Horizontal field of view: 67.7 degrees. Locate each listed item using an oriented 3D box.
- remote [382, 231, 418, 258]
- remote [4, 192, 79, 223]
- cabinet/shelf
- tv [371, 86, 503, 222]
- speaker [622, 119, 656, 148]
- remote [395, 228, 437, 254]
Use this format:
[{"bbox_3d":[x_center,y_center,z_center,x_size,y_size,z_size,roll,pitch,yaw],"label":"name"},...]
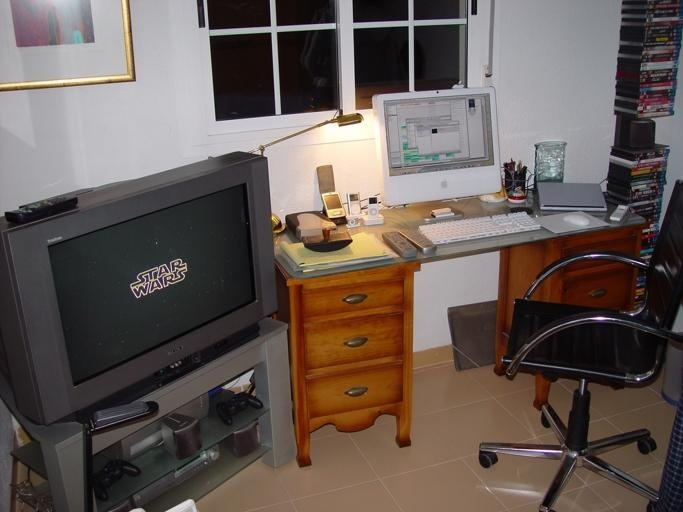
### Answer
[{"bbox_3d":[0.289,-0.058,2.479,0.109,0.055,0.258,-12,22,-16],"label":"remote"},{"bbox_3d":[-1.006,-0.162,1.731,0.128,0.041,0.231,13,28,40],"label":"remote"},{"bbox_3d":[-0.788,0.647,2.084,0.392,0.527,0.729,22,32,39],"label":"cabinet/shelf"},{"bbox_3d":[0.518,-0.566,2.786,0.688,0.607,0.247,-5,5,-14],"label":"tv"},{"bbox_3d":[1.842,-0.762,3.199,0.182,0.214,0.180,-15,20,-38],"label":"speaker"},{"bbox_3d":[0.372,-0.100,2.494,0.069,0.053,0.228,-11,30,-15],"label":"remote"}]
